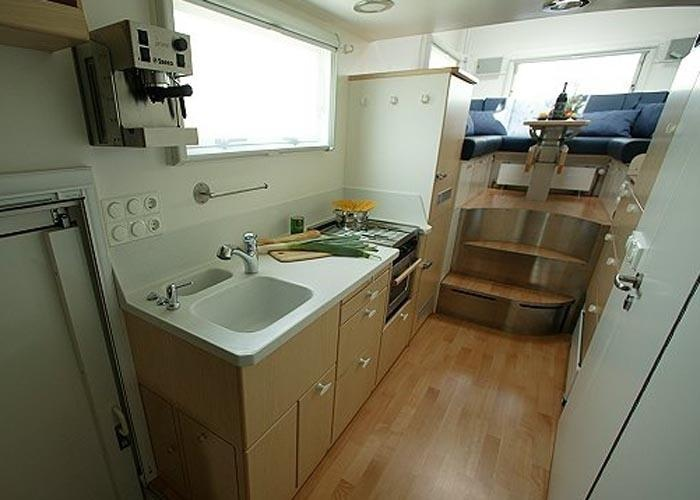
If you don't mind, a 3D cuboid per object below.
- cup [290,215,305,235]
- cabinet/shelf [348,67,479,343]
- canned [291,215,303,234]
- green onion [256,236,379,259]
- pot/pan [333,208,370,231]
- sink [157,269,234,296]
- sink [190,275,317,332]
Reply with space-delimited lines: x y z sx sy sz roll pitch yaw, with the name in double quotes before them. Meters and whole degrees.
"cup" -0.324 -0.161 2.960 0.073 0.114 0.120 2 29 -1
"cabinet/shelf" 0.339 -0.424 3.636 0.619 1.742 1.037 8 16 20
"canned" -0.333 -0.169 3.022 0.088 0.119 0.257 0 20 -5
"green onion" -0.156 -0.013 2.774 0.759 0.114 0.225 -1 41 -9
"pot/pan" 0.005 -0.208 3.217 0.187 0.094 0.138 -17 27 -37
"sink" -0.781 0.158 2.502 0.148 0.107 0.249 22 37 27
"sink" -0.478 0.263 2.371 0.478 0.154 0.581 7 9 16
